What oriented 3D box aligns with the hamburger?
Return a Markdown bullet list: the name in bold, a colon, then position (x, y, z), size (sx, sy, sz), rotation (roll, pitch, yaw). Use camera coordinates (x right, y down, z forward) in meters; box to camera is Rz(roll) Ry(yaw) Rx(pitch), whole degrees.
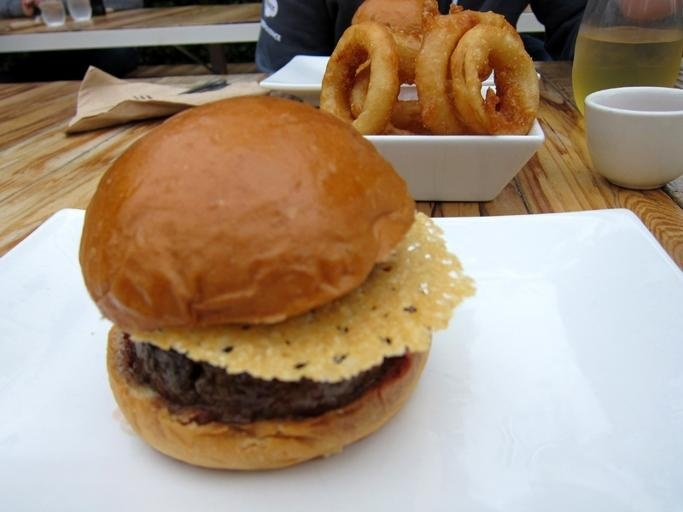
- **hamburger**: position (-0.124, 0.010, 1.122), size (0.596, 0.528, 0.626), rotation (-12, 37, -21)
